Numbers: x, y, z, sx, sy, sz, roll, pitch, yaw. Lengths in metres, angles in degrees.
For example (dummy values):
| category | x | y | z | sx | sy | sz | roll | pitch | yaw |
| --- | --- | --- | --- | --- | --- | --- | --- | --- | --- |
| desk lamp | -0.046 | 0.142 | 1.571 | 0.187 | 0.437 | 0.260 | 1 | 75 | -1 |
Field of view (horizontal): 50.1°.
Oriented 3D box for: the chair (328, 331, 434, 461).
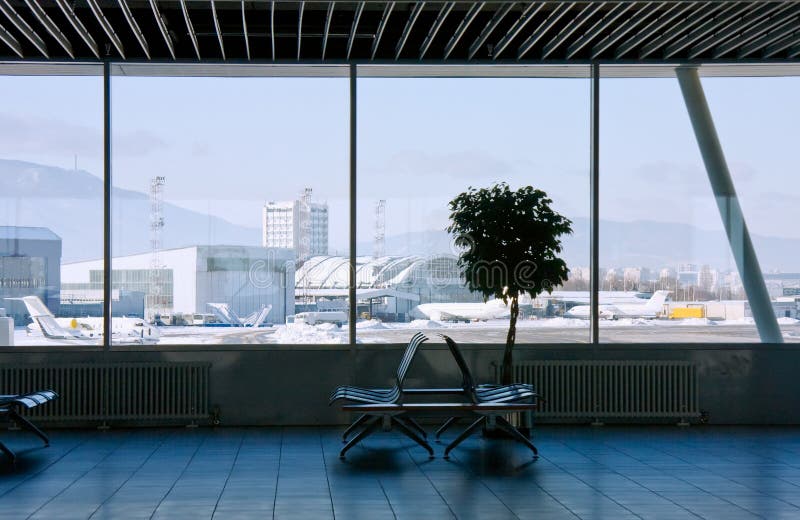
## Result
| category | x | y | z | sx | sy | sz | roll | pitch | yaw |
| --- | --- | --- | --- | --- | --- | --- | --- | --- | --- |
| chair | -0.261 | 1.794 | 11.439 | 1.324 | 1.392 | 1.419 | -3 | -1 | 1 |

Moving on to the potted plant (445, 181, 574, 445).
| category | x | y | z | sx | sy | sz | roll | pitch | yaw |
| --- | --- | --- | --- | --- | --- | --- | --- | --- | --- |
| potted plant | 1.609 | 0.720 | 12.462 | 1.505 | 3.602 | 1.291 | 0 | 2 | 7 |

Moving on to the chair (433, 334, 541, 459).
| category | x | y | z | sx | sy | sz | roll | pitch | yaw |
| --- | --- | --- | --- | --- | --- | --- | --- | --- | --- |
| chair | 1.161 | 1.760 | 11.270 | 1.282 | 1.461 | 0.764 | -3 | -1 | 2 |
